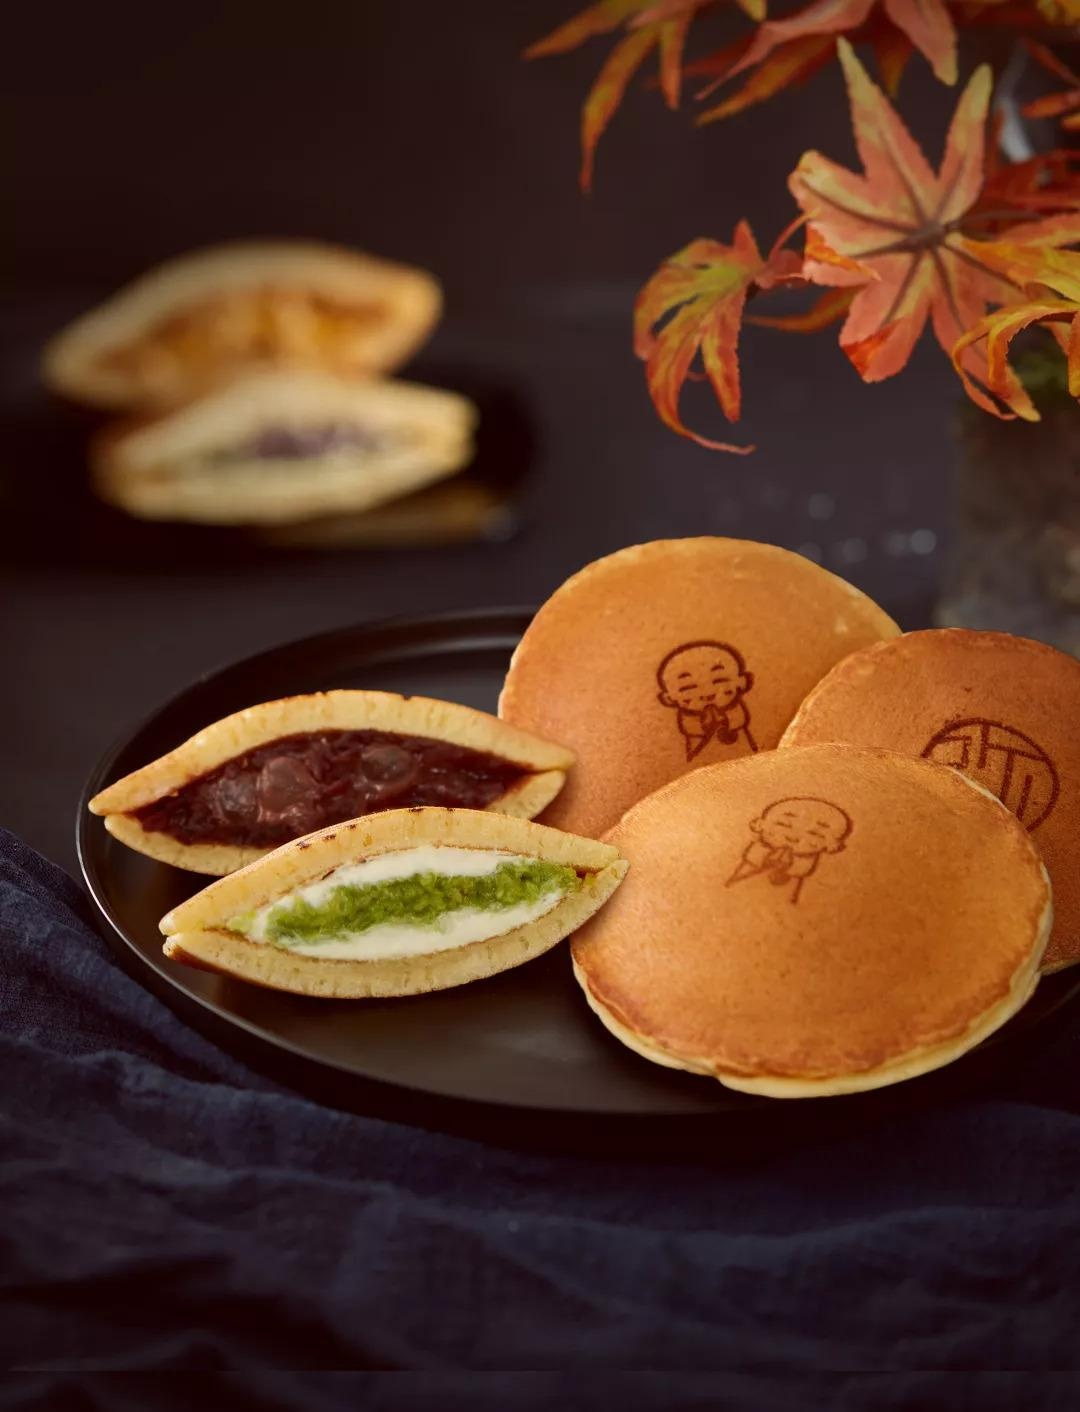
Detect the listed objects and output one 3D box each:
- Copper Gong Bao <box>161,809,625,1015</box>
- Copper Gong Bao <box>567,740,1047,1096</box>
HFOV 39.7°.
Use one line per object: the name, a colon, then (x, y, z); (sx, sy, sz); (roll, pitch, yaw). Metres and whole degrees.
Copper Gong Bao: (-0.069, 0.102, 0.754); (0.278, 0.094, 0.058); (-6, -20, -31)
Copper Gong Bao: (0.149, 0.083, 0.762); (0.221, 0.048, 0.208); (7, 43, 34)
